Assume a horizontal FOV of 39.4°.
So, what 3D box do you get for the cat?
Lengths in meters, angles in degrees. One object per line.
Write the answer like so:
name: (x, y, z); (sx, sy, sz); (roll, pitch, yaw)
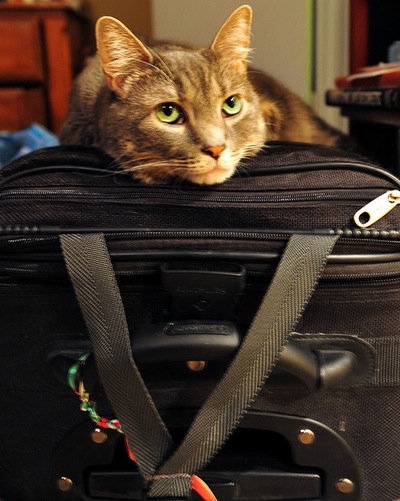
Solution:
cat: (-0.026, -0.164, 0.714); (0.278, 0.119, 0.317); (0, 16, -8)
